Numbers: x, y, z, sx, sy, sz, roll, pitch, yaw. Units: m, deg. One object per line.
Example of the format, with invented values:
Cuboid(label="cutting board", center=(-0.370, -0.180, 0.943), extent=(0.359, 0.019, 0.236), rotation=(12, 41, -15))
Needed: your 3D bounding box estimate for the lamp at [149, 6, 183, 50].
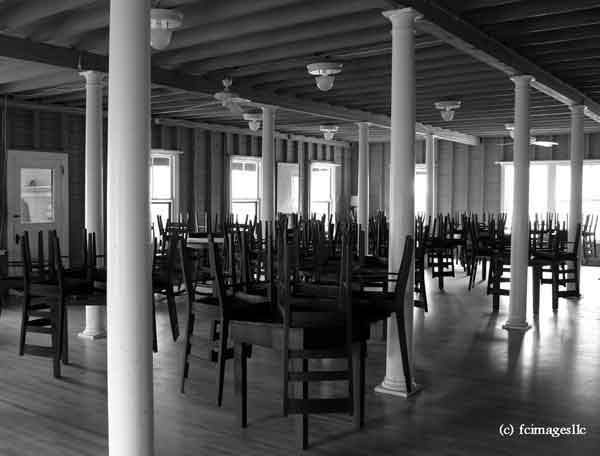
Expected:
Cuboid(label="lamp", center=(-1.233, -1.852, 5.002), extent=(0.265, 0.347, 0.258), rotation=(0, 1, -17))

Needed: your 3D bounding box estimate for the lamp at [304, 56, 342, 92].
Cuboid(label="lamp", center=(0.311, -1.932, 6.805), extent=(0.452, 0.329, 0.456), rotation=(-4, -4, 23))

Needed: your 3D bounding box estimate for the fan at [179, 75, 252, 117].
Cuboid(label="fan", center=(-1.023, -1.974, 7.959), extent=(0.557, 0.279, 0.561), rotation=(-2, -4, 28))

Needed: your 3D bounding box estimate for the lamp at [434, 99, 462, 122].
Cuboid(label="lamp", center=(2.706, -2.186, 10.023), extent=(0.578, 0.441, 0.469), rotation=(2, 1, 20))
